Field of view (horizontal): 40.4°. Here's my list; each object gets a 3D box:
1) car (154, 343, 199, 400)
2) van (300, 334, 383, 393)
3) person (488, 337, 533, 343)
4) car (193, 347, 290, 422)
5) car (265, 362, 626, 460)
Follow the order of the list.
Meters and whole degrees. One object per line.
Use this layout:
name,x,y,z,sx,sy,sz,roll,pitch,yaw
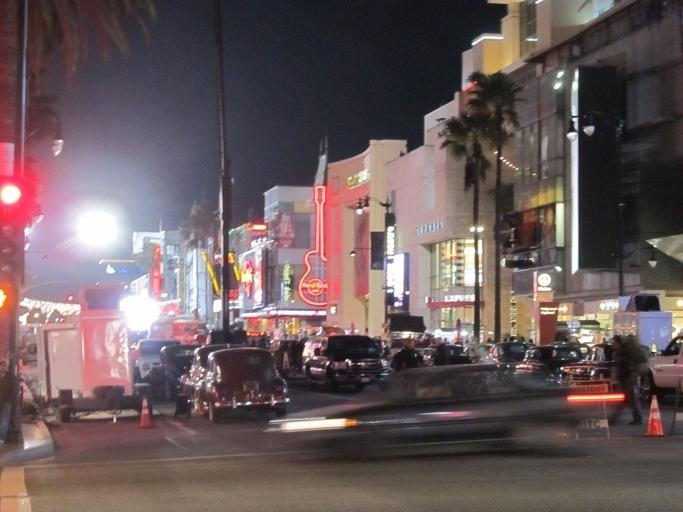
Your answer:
car,-6.038,4.125,34.143,1.241,1.152,2.187,0,1,-10
van,-0.048,4.133,36.065,1.750,1.274,2.955,1,-9,-19
person,9.827,4.940,54.359,1.460,0.390,1.544,1,-1,-40
car,-2.780,3.526,25.673,1.472,1.221,2.678,0,0,-14
car,2.079,2.824,17.142,5.476,1.588,1.652,0,-7,-18
